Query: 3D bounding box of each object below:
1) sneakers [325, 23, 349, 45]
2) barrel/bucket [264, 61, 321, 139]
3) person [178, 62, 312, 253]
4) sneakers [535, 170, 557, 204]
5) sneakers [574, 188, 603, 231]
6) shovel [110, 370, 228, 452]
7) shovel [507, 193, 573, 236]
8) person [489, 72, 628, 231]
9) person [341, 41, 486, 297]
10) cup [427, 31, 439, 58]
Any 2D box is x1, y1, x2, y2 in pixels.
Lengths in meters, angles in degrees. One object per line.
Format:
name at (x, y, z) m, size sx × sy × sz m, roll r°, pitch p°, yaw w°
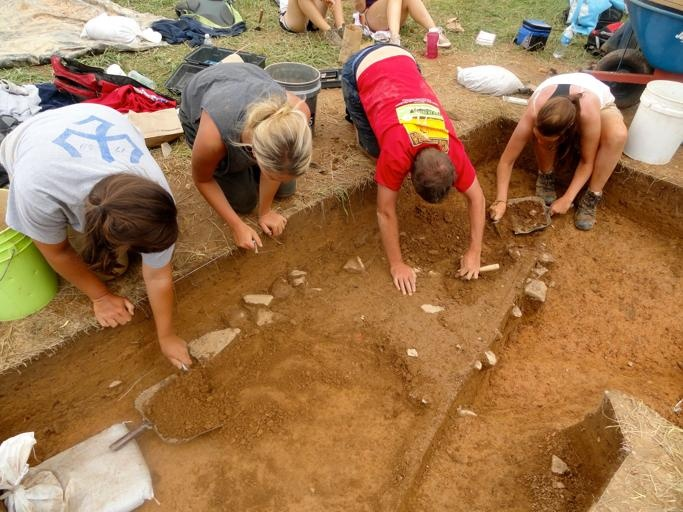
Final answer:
sneakers at (-0.073, -2.284, 5.646) m, size 0.205 × 0.150 × 0.270 m, roll -9°, pitch 47°, yaw -3°
barrel/bucket at (-0.317, -1.191, 4.249) m, size 0.467 × 0.517 × 0.500 m, roll 2°, pitch 50°, yaw -3°
person at (-0.561, -0.563, 3.525) m, size 0.756 × 1.044 × 0.876 m, roll -15°, pitch 46°, yaw -8°
sneakers at (1.674, -0.557, 4.544) m, size 0.113 × 0.136 × 0.334 m, roll -4°, pitch 73°, yaw 8°
sneakers at (1.930, -0.352, 4.357) m, size 0.132 × 0.178 × 0.430 m, roll 11°, pitch 82°, yaw 3°
shovel at (-1.104, 0.927, 3.291) m, size 0.537 × 0.098 × 0.337 m, roll -30°, pitch 78°, yaw -32°
shovel at (1.464, -0.332, 4.225) m, size 0.296 × 0.094 × 0.304 m, roll -12°, pitch 70°, yaw -2°
person at (1.645, -0.800, 4.240) m, size 0.889 × 1.044 × 0.693 m, roll -2°, pitch 46°, yaw 4°
person at (0.412, -0.832, 3.875) m, size 0.800 × 0.678 × 1.942 m, roll -15°, pitch 70°, yaw -6°
cup at (0.899, -2.084, 5.435) m, size 0.127 × 0.230 × 0.138 m, roll -1°, pitch 66°, yaw 1°
